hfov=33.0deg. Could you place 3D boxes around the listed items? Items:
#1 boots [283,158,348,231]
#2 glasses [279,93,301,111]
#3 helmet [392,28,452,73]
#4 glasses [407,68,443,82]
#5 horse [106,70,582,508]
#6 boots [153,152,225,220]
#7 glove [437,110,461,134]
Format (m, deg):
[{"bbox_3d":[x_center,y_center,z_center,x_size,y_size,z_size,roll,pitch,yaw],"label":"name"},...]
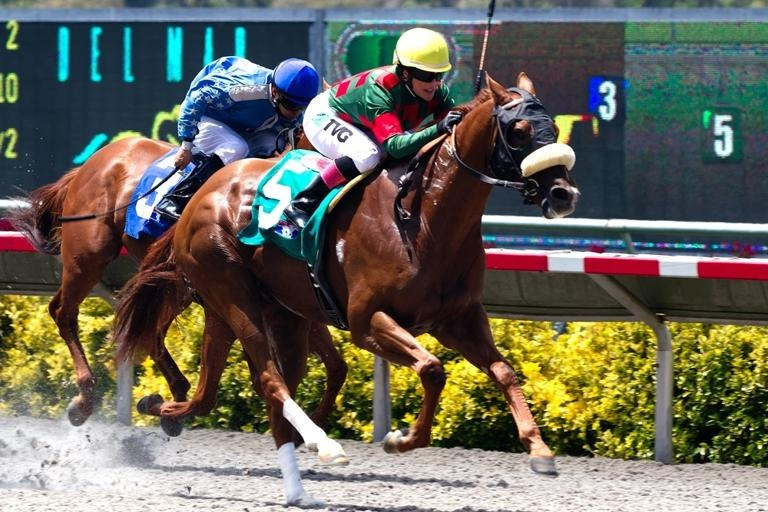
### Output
[{"bbox_3d":[-0.490,-0.275,8.030,0.212,0.528,0.396,-20,52,-20],"label":"boots"},{"bbox_3d":[-0.625,-1.004,8.515,0.099,0.038,0.121,16,10,-41],"label":"glasses"},{"bbox_3d":[0.251,-1.268,7.973,0.339,0.213,0.428,-4,23,-19],"label":"helmet"},{"bbox_3d":[0.244,-1.087,7.872,0.125,0.031,0.124,10,0,-25],"label":"glasses"},{"bbox_3d":[-0.241,0.171,8.072,2.975,2.598,1.021,8,14,33],"label":"horse"},{"bbox_3d":[-1.297,-0.509,8.875,0.295,0.613,0.239,45,-18,18],"label":"boots"},{"bbox_3d":[0.396,-0.802,7.797,0.092,0.168,0.065,40,-18,22],"label":"glove"}]
